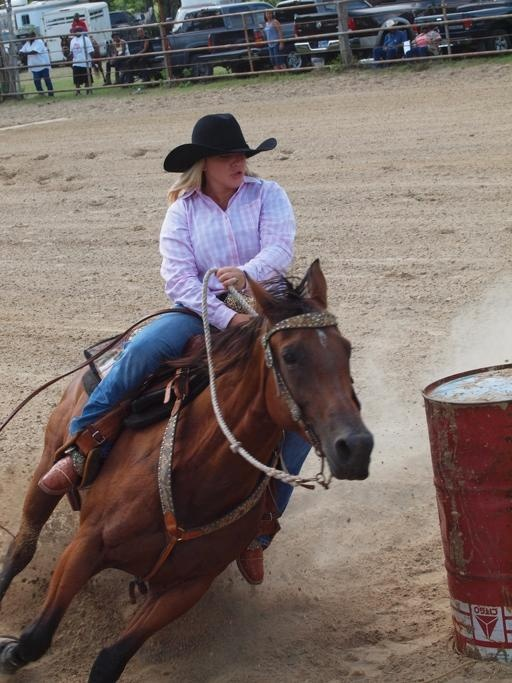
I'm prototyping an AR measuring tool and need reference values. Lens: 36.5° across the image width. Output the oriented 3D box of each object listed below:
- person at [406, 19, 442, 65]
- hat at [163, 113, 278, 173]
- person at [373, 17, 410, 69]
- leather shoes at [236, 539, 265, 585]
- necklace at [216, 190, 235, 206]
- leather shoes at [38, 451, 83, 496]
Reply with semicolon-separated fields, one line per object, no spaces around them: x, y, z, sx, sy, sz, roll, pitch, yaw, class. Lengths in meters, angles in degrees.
3.461;-6.074;16.011;0.889;0.517;0.343;-10;-16;16;person
-0.210;-0.804;3.379;0.405;0.133;0.315;-13;8;33;hat
2.823;-6.247;16.181;0.765;0.923;0.760;0;21;17;person
-0.016;1.046;3.680;0.112;0.234;0.101;-6;10;35;leather shoes
-0.139;-0.628;3.462;0.070;0.071;0.030;1;-20;6;necklace
-0.811;0.566;3.344;0.127;0.106;0.294;-42;6;3;leather shoes
